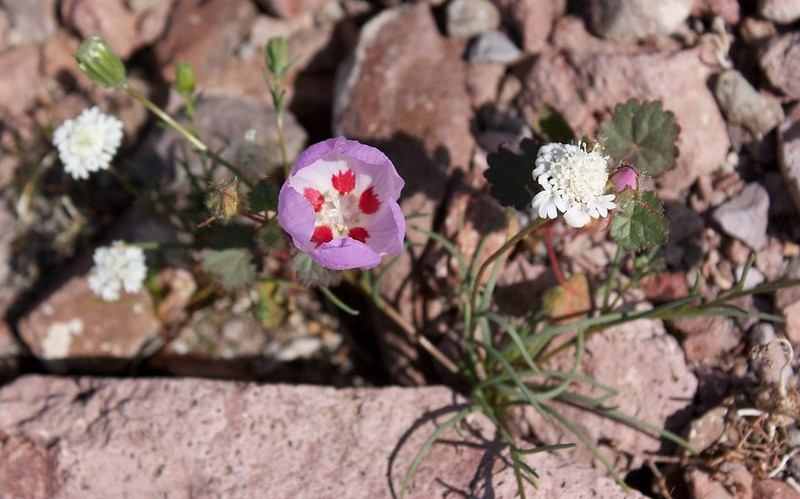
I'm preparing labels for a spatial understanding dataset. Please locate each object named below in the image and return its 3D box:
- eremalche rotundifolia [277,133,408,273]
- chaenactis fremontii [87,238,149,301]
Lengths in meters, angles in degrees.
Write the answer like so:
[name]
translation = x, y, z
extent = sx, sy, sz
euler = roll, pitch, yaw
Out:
[eremalche rotundifolia]
translation = -0.405, -0.276, 5.888
extent = 0.858, 1.028, 0.888
euler = 2, 85, -1
[chaenactis fremontii]
translation = -2.025, 0.148, 5.883
extent = 0.385, 0.179, 0.444
euler = 12, 90, -5
